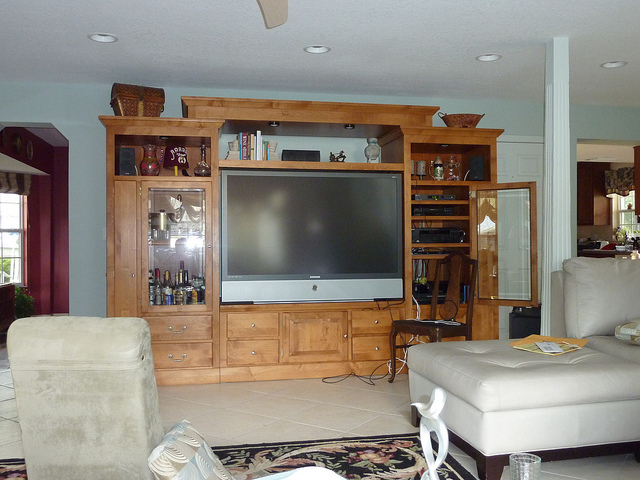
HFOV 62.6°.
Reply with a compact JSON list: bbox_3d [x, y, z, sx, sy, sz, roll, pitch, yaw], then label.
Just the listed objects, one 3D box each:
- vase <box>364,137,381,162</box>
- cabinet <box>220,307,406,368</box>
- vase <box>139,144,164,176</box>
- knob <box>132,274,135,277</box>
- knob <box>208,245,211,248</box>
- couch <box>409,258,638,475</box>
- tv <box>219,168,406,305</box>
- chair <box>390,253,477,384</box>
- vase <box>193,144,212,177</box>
[{"bbox_3d":[0.570,-0.979,5.674,0.160,0.291,0.399,0,4,7],"label":"vase"},{"bbox_3d":[-0.108,1.005,5.272,2.016,0.611,0.420,2,-11,-23],"label":"cabinet"},{"bbox_3d":[-1.646,-0.785,5.159,0.222,0.327,0.308,-2,4,-15],"label":"vase"},{"bbox_3d":[-1.745,0.325,4.911,0.035,0.030,0.012,17,-6,-15],"label":"knob"},{"bbox_3d":[-1.053,0.057,4.993,0.035,0.027,0.011,-1,4,-1],"label":"knob"},{"bbox_3d":[1.419,0.794,3.730,1.661,1.223,1.185,2,-3,-10],"label":"couch"},{"bbox_3d":[-0.161,-0.014,5.161,1.582,0.953,0.186,1,-4,-12],"label":"tv"},{"bbox_3d":[1.051,0.704,4.784,0.807,1.083,0.733,-2,-2,-7],"label":"chair"},{"bbox_3d":[-1.135,-0.769,5.101,0.160,0.296,0.113,0,5,11],"label":"vase"}]
